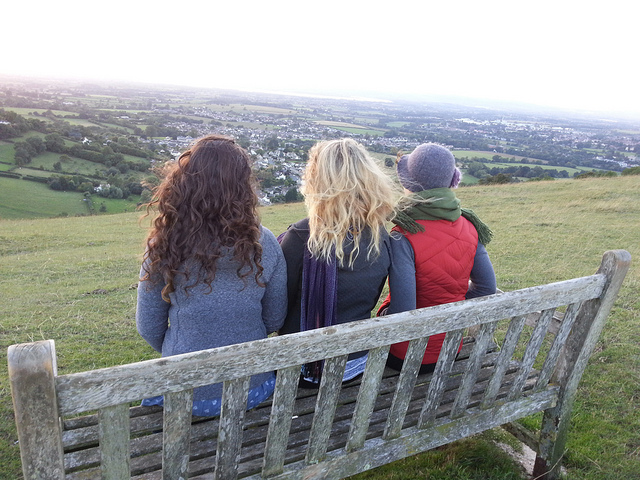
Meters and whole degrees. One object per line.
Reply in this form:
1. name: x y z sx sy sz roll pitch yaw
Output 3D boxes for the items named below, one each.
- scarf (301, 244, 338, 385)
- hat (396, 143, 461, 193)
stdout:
1. scarf: -0.010 0.341 3.350 0.269 0.632 0.106 -2 8 -3
2. hat: 0.904 -0.687 3.805 0.519 0.303 0.585 8 39 4
